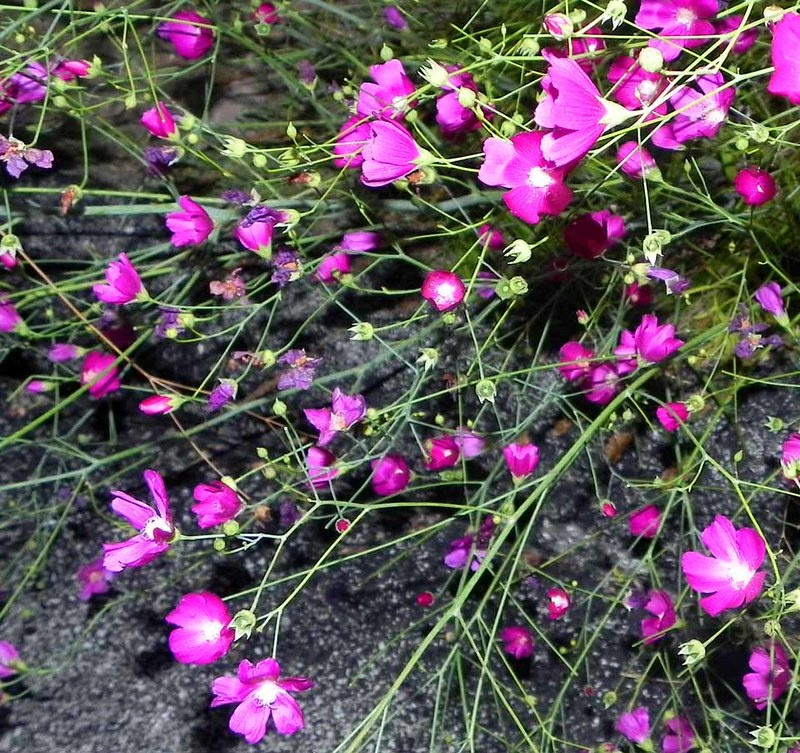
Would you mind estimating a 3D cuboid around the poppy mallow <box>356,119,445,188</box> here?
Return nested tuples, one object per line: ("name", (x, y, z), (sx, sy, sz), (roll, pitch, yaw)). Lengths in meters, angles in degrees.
("poppy mallow", (-0.004, -0.286, 1.028), (0.087, 0.071, 0.073), (5, 52, -8))
